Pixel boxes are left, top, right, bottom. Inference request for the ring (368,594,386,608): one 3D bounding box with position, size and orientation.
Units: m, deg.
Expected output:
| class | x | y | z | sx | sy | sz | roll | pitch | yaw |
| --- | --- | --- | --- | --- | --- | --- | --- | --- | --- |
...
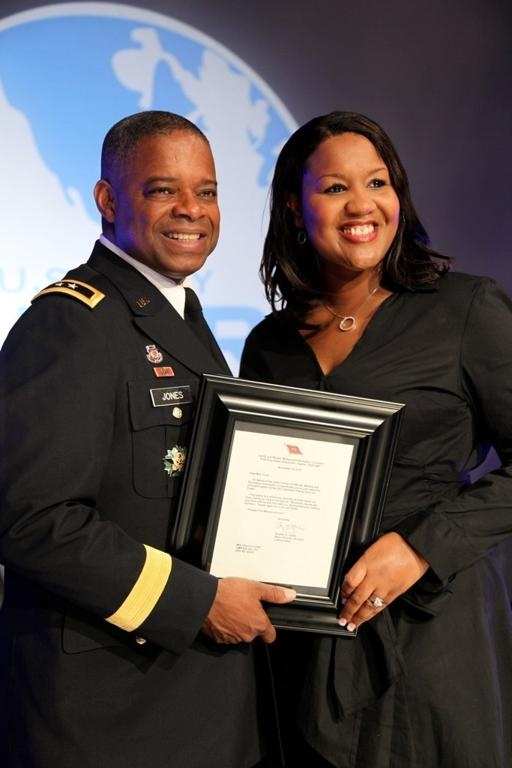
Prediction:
| class | x | y | z | sx | sy | sz | roll | pitch | yaw |
| --- | --- | --- | --- | --- | --- | --- | --- | --- | --- |
| ring | 0.205 | 0.365 | 1.143 | 0.024 | 0.018 | 0.008 | 34 | 3 | -5 |
